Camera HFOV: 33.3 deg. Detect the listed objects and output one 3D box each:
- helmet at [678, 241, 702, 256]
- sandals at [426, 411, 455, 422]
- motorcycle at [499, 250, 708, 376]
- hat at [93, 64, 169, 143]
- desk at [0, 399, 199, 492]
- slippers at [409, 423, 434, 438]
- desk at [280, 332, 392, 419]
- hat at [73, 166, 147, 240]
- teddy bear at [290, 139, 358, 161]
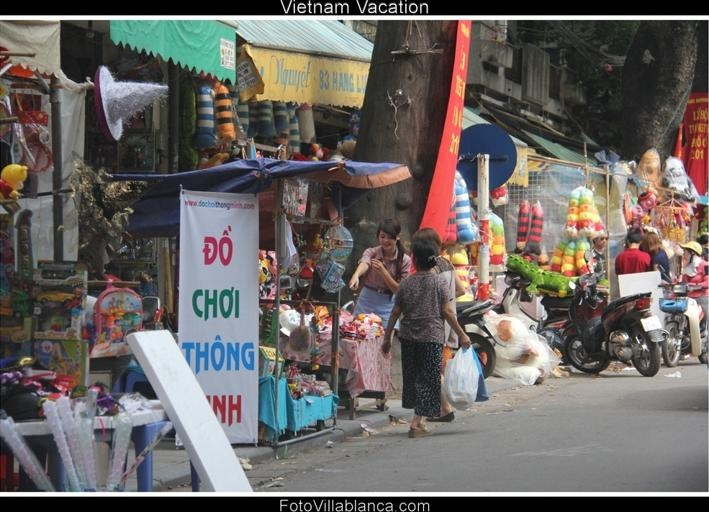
[{"bbox_3d":[6.007,-0.129,20.907,0.404,0.208,0.292,19,0,-1],"label":"helmet"},{"bbox_3d":[1.055,2.041,14.780,0.389,0.151,0.140,0,0,24],"label":"sandals"},{"bbox_3d":[3.756,0.965,18.534,1.349,1.669,2.738,-9,7,-29],"label":"motorcycle"},{"bbox_3d":[-2.966,-2.028,15.288,0.978,0.954,0.938,-4,20,-1],"label":"hat"},{"bbox_3d":[-2.515,1.746,10.769,0.990,1.150,1.246,-1,0,7],"label":"desk"},{"bbox_3d":[0.774,2.089,14.116,0.107,0.148,0.314,1,6,27],"label":"slippers"},{"bbox_3d":[-0.261,1.382,14.741,1.005,0.671,1.257,-3,-6,29],"label":"desk"},{"bbox_3d":[-3.079,-0.650,14.418,0.569,0.807,1.023,-35,0,-21],"label":"hat"},{"bbox_3d":[-0.402,-1.674,19.196,0.706,0.295,0.582,-4,-3,12],"label":"teddy bear"}]
